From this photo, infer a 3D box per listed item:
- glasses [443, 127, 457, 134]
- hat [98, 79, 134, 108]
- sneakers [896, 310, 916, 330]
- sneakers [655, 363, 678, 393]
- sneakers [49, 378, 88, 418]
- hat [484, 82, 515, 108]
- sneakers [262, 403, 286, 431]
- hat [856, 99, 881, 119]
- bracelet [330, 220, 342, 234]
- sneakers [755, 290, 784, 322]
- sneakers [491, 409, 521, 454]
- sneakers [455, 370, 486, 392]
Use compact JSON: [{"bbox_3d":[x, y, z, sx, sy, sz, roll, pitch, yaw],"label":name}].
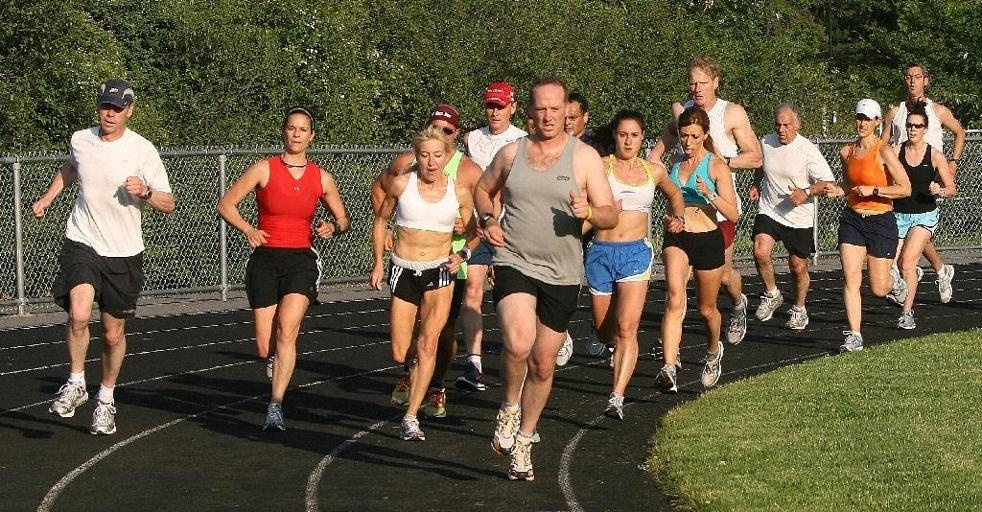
[{"bbox_3d":[-0.517,-1.549,11.899,0.095,0.083,0.247,2,10,19],"label":"glasses"},{"bbox_3d":[-4.278,-1.848,10.960,0.309,0.199,0.395,12,5,-6],"label":"hat"},{"bbox_3d":[7.088,1.097,16.298,0.211,0.220,0.527,-3,-5,26],"label":"sneakers"},{"bbox_3d":[2.277,1.622,12.393,0.241,0.268,0.572,1,-20,14],"label":"sneakers"},{"bbox_3d":[-4.980,1.659,11.316,0.305,0.261,0.643,20,17,-5],"label":"sneakers"},{"bbox_3d":[0.112,-2.105,12.556,0.384,0.301,0.472,-1,9,0],"label":"hat"},{"bbox_3d":[-2.531,1.892,11.187,0.217,0.396,0.267,-3,9,-9],"label":"sneakers"},{"bbox_3d":[5.807,-2.252,14.645,0.362,0.241,0.507,1,-3,26],"label":"hat"},{"bbox_3d":[-1.859,-0.348,11.688,0.055,0.125,0.128,-38,0,-8],"label":"bracelet"},{"bbox_3d":[4.991,0.908,17.047,0.226,0.571,0.275,27,-18,50],"label":"sneakers"},{"bbox_3d":[0.164,1.835,10.066,0.236,0.551,0.259,11,-27,-14],"label":"sneakers"},{"bbox_3d":[-0.225,1.676,12.895,0.229,0.228,0.506,2,-13,26],"label":"sneakers"}]
